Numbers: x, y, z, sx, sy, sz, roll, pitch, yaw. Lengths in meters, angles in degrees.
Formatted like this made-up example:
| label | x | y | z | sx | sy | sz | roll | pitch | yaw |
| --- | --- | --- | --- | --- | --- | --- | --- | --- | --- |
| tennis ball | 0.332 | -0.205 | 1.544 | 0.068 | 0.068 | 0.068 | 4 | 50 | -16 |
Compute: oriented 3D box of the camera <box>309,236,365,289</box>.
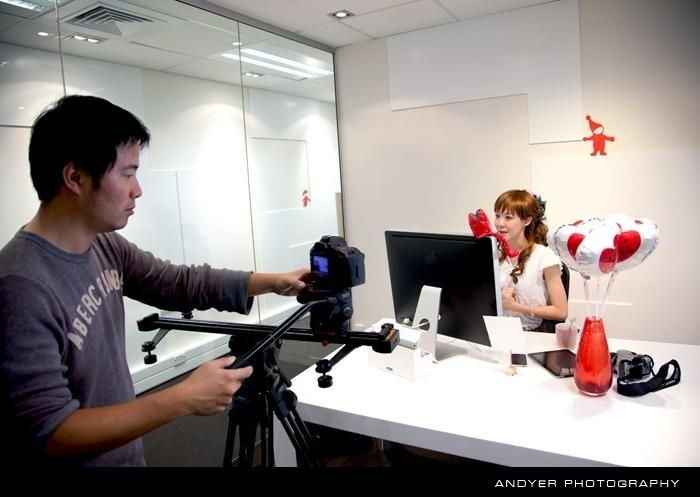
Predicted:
| label | x | y | z | sx | sy | sz | roll | pitch | yaw |
| --- | --- | --- | --- | --- | --- | --- | --- | --- | --- |
| camera | -0.052 | 0.054 | 1.891 | 0.223 | 0.207 | 0.134 | 3 | 7 | 37 |

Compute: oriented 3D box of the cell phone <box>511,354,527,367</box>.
| label | x | y | z | sx | sy | sz | roll | pitch | yaw |
| --- | --- | --- | --- | --- | --- | --- | --- | --- | --- |
| cell phone | 0.813 | 0.546 | 2.304 | 0.062 | 0.058 | 0.017 | 7 | -5 | 20 |

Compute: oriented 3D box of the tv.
| label | x | y | z | sx | sy | sz | roll | pitch | yaw |
| --- | --- | --- | --- | --- | --- | --- | --- | --- | --- |
| tv | 0.433 | 0.225 | 2.540 | 0.651 | 0.538 | 0.207 | 6 | -21 | -20 |

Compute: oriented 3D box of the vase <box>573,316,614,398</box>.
| label | x | y | z | sx | sy | sz | roll | pitch | yaw |
| --- | --- | --- | --- | --- | --- | --- | --- | --- | --- |
| vase | 1.072 | 0.477 | 2.106 | 0.156 | 0.361 | 0.157 | 4 | 25 | 32 |

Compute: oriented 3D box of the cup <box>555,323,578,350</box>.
| label | x | y | z | sx | sy | sz | roll | pitch | yaw |
| --- | --- | --- | --- | --- | --- | --- | --- | --- | --- |
| cup | 1.128 | 0.463 | 2.488 | 0.104 | 0.122 | 0.136 | -3 | -7 | 9 |
